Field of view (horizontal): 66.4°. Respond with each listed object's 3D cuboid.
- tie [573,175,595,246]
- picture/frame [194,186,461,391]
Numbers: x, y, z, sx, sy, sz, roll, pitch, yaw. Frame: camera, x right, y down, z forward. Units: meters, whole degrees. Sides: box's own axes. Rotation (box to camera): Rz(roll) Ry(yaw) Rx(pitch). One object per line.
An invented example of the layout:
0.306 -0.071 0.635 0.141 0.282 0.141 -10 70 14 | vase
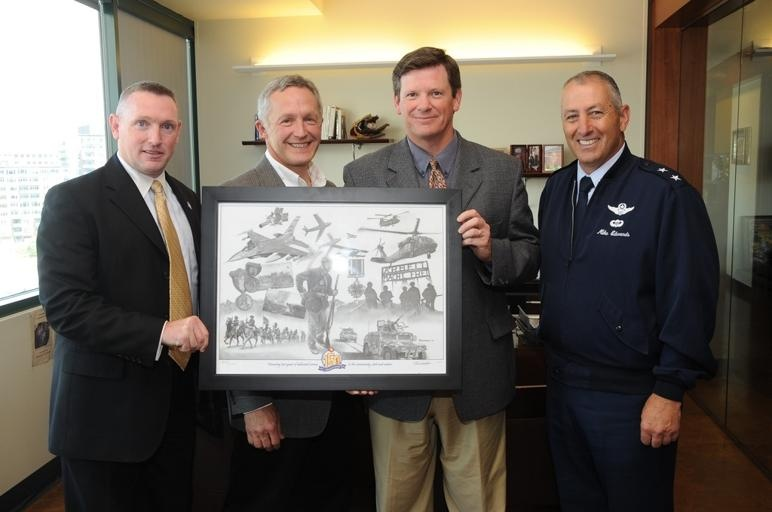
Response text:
0.951 -0.235 2.878 0.079 0.399 0.057 3 -20 18 | tie
-0.249 0.165 2.541 0.813 0.675 0.037 0 0 0 | picture/frame
